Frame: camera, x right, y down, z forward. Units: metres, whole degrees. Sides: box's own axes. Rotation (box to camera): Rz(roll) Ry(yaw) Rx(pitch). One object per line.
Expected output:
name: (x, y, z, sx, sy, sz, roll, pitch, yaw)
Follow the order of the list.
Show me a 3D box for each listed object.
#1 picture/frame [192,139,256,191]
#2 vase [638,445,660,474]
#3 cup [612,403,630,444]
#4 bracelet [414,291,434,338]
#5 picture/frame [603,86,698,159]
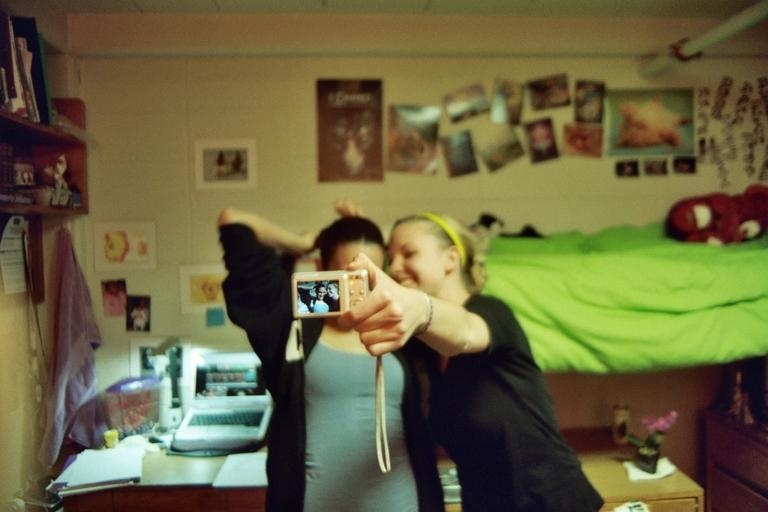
picture/frame: (-0.824, -0.482, 3.405, 0.321, 0.248, 0.025, -7, 21, -36)
vase: (1.345, 1.032, 3.371, 0.125, 0.122, 0.131, -1, -1, 37)
cup: (1.265, 0.901, 3.524, 0.085, 0.203, 0.094, 0, 4, 25)
bracelet: (0.176, 0.244, 2.650, 0.041, 0.138, 0.112, 19, -17, 4)
picture/frame: (1.387, -0.714, 3.474, 0.417, 0.275, 0.017, -1, 0, 2)
